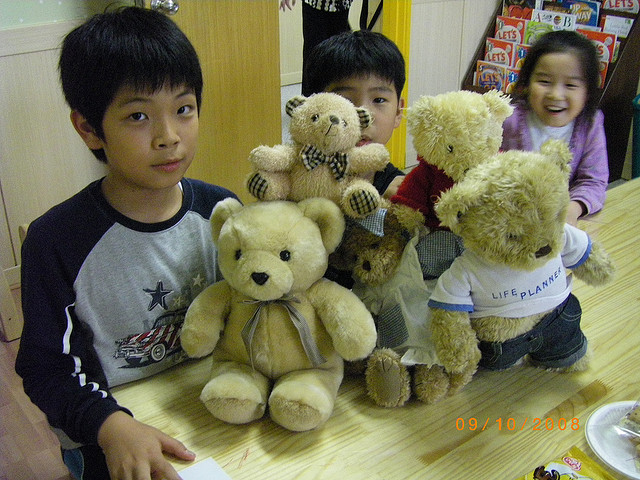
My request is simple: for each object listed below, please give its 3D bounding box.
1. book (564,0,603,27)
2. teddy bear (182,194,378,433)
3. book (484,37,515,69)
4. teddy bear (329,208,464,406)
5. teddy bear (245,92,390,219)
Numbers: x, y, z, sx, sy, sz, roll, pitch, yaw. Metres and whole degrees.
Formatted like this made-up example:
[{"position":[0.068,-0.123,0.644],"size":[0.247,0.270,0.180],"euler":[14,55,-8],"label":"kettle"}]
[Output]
[{"position":[1.418,-1.208,2.758],"size":[0.146,0.108,0.020],"euler":[28,21,32],"label":"book"},{"position":[-0.077,0.143,0.977],"size":[0.364,0.387,0.256],"euler":[5,30,6],"label":"teddy bear"},{"position":[1.127,-1.166,3.222],"size":[0.034,0.202,0.229],"euler":[-12,36,-36],"label":"book"},{"position":[0.156,0.137,1.003],"size":[0.237,0.325,0.194],"euler":[-21,10,15],"label":"teddy bear"},{"position":[0.000,-0.171,1.009],"size":[0.260,0.234,0.162],"euler":[6,14,1],"label":"teddy bear"}]
